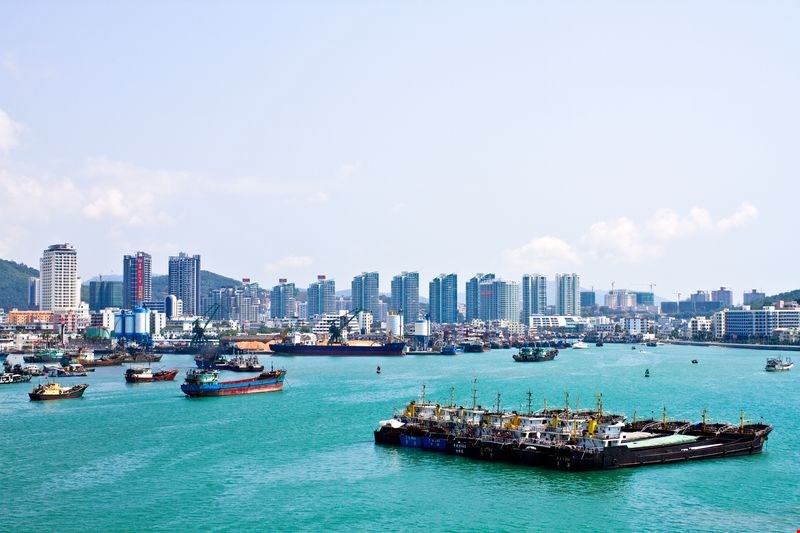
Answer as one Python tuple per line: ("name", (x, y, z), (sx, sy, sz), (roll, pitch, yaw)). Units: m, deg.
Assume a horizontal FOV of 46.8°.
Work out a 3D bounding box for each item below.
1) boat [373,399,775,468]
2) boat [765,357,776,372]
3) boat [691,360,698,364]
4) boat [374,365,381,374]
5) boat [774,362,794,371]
("boat", (13.330, 13.507, 74.756), (29.661, 3.971, 9.701), (1, 1, 4))
("boat", (53.069, 14.104, 132.481), (1.159, 1.399, 4.748), (3, 5, 18))
("boat", (48.723, 15.837, 153.023), (1.110, 0.434, 1.313), (-2, 2, 10))
("boat", (-3.288, 15.187, 135.618), (0.984, 0.996, 2.779), (0, -5, 2))
("boat", (54.426, 14.286, 131.416), (1.774, 1.102, 4.087), (1, 1, 34))
